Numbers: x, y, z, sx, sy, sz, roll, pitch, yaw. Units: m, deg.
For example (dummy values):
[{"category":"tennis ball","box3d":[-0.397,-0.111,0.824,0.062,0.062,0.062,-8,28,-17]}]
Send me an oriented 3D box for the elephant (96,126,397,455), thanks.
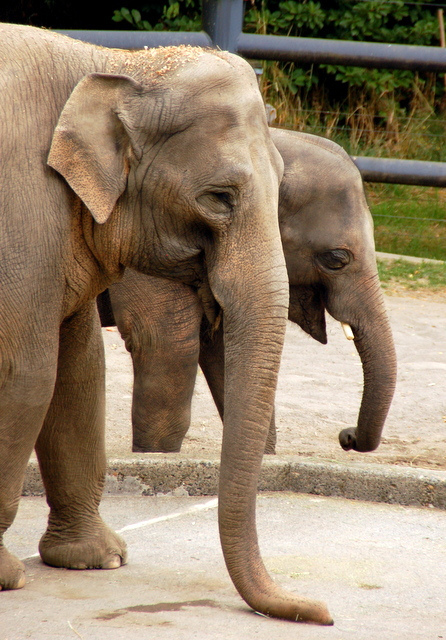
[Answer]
[{"category":"elephant","box3d":[-0.289,-0.092,3.466,1.692,1.124,0.857,0,2,16]}]
